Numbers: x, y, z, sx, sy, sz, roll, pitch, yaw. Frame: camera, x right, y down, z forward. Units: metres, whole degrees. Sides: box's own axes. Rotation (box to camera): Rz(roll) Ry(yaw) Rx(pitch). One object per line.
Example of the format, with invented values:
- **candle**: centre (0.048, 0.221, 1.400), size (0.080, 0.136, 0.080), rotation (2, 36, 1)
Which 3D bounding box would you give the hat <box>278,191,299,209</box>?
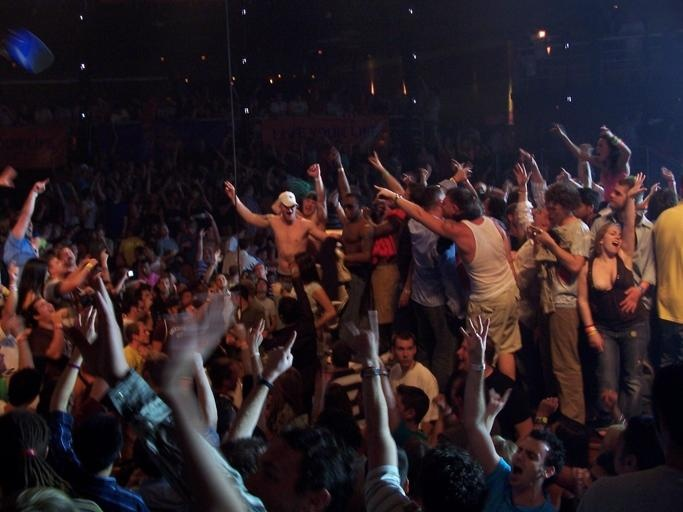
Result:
- **hat**: centre (-0.438, -0.474, 4.466), size (0.103, 0.088, 0.150), rotation (2, 13, -20)
